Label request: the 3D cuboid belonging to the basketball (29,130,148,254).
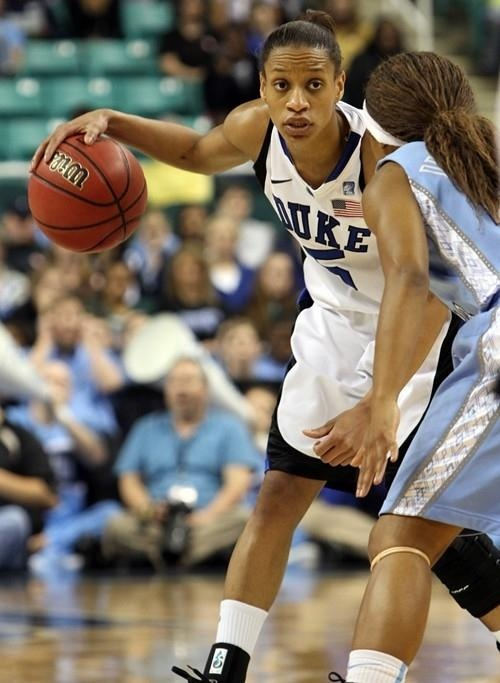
[{"bbox_3d":[-0.434,-0.380,2.067,0.308,0.308,0.284,-18,39,-43],"label":"basketball"}]
